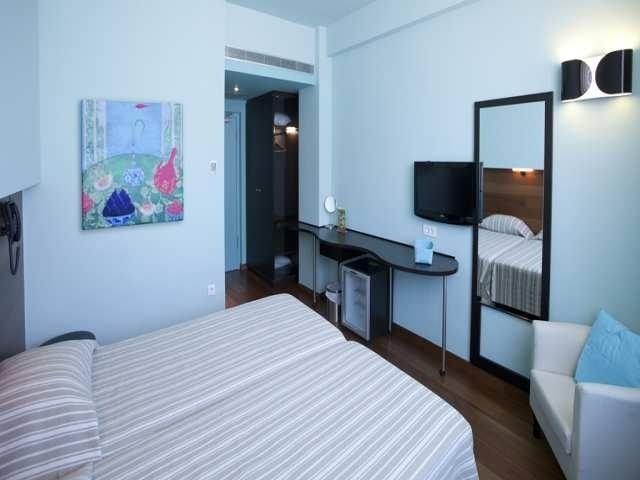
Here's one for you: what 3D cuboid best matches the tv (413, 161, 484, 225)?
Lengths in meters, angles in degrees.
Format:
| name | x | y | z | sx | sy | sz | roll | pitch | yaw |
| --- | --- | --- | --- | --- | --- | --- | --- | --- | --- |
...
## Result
| name | x | y | z | sx | sy | sz | roll | pitch | yaw |
| --- | --- | --- | --- | --- | --- | --- | --- | --- | --- |
| tv | 1.182 | -0.439 | 4.075 | 0.115 | 0.478 | 0.497 | -9 | 13 | -37 |

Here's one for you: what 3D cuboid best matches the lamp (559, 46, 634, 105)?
| name | x | y | z | sx | sy | sz | roll | pitch | yaw |
| --- | --- | --- | --- | --- | --- | --- | --- | --- | --- |
| lamp | 1.950 | -1.151 | 3.143 | 0.067 | 0.315 | 0.399 | -9 | 13 | -43 |

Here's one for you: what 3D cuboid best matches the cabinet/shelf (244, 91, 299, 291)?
| name | x | y | z | sx | sy | sz | roll | pitch | yaw |
| --- | --- | --- | --- | --- | --- | --- | --- | --- | --- |
| cabinet/shelf | -0.694 | -0.716 | 6.153 | 0.426 | 2.511 | 1.015 | -12 | 18 | -42 |
